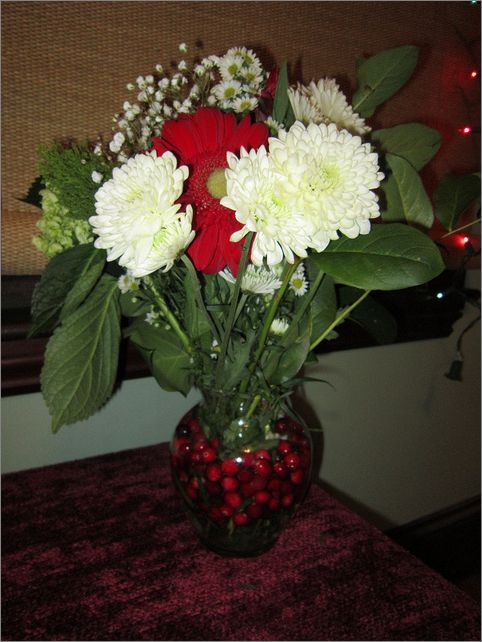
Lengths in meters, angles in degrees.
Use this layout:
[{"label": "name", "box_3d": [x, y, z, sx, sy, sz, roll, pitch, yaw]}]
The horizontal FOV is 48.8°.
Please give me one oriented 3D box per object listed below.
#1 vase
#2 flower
[{"label": "vase", "box_3d": [0.002, 0.165, 0.606, 0.161, 0.163, 0.152, -3, 7, -30]}, {"label": "flower", "box_3d": [-0.009, -0.095, 0.578, 0.405, 0.377, 0.360, 5, 36, 1]}]
